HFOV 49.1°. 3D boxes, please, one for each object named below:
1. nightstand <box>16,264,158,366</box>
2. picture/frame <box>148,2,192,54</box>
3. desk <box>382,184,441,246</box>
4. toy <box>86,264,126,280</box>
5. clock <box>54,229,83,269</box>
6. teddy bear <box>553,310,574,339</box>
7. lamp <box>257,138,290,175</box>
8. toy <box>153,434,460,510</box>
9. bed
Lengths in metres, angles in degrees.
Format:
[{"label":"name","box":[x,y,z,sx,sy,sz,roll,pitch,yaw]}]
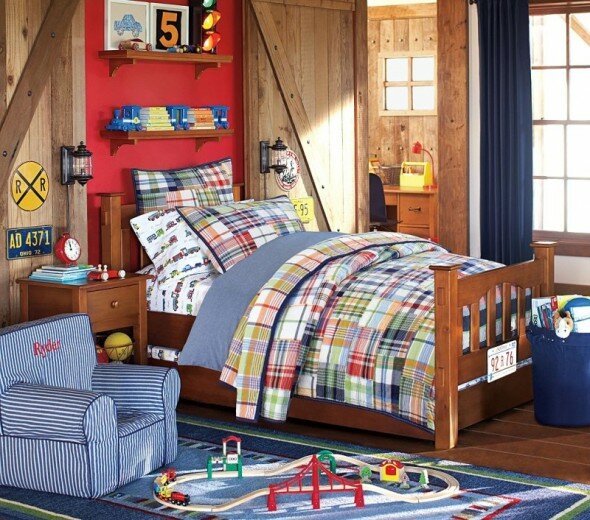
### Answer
[{"label":"nightstand","box":[-1.155,0.231,3.538,0.393,0.568,0.540,3,7,24]},{"label":"picture/frame","box":[-0.819,-1.503,4.192,0.036,0.404,0.381,7,13,43]},{"label":"desk","box":[1.337,-0.539,7.374,0.753,0.789,0.512,3,5,36]},{"label":"toy","box":[-1.044,0.076,3.576,0.129,0.060,0.104,2,5,-3]},{"label":"clock","box":[-1.273,-0.063,3.640,0.062,0.178,0.142,-9,-1,21]},{"label":"teddy bear","box":[1.268,0.309,3.054,0.067,0.147,0.051,-4,-21,32]},{"label":"lamp","box":[-0.189,-0.796,5.017,0.245,0.383,0.244,1,3,17]},{"label":"toy","box":[0.028,0.823,2.394,0.749,0.153,0.430,-2,3,5]},{"label":"bed","box":[0.243,0.158,3.592,1.768,1.066,1.123,5,11,30]}]
